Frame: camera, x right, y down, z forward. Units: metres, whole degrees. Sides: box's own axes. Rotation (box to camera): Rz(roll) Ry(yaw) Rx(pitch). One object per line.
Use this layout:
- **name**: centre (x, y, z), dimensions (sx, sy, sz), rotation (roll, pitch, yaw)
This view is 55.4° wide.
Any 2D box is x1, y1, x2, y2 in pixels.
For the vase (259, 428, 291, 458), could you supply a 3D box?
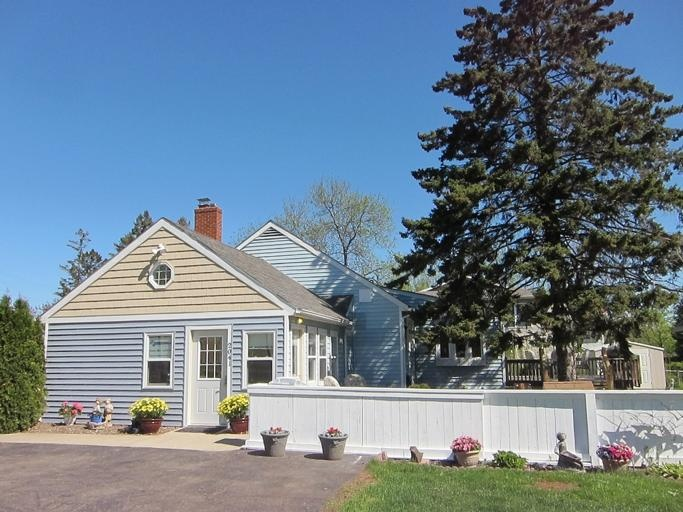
- **vase**: centre (-1.741, 4.892, 17.060), dimensions (0.608, 0.522, 0.659), rotation (1, -12, -5)

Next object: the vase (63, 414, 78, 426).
- **vase**: centre (-8.776, 5.311, 21.132), dimensions (0.333, 0.292, 0.348), rotation (-12, -19, 33)

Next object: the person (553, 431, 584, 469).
- **person**: centre (5.564, 4.754, 15.973), dimensions (0.535, 0.741, 0.868), rotation (-2, 6, -3)

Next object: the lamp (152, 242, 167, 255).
- **lamp**: centre (-6.117, -0.210, 21.817), dimensions (0.530, 0.367, 0.268), rotation (3, 8, 42)

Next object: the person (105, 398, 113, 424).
- **person**: centre (-7.475, 5.007, 20.927), dimensions (0.254, 0.778, 0.690), rotation (-3, 6, -15)

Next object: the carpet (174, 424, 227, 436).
- **carpet**: centre (-4.280, 5.340, 20.128), dimensions (1.666, 0.120, 0.923), rotation (-1, 6, 16)

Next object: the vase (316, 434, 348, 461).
- **vase**: centre (-0.203, 4.910, 16.740), dimensions (0.564, 0.462, 0.615), rotation (2, -17, -4)

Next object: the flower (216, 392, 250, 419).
- **flower**: centre (-3.166, 4.504, 19.839), dimensions (0.938, 0.701, 0.946), rotation (0, 1, 9)

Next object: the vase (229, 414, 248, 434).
- **vase**: centre (-3.068, 5.057, 19.528), dimensions (0.474, 0.411, 0.521), rotation (1, -19, 0)

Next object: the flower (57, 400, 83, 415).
- **flower**: centre (-8.758, 4.970, 21.192), dimensions (0.514, 0.296, 0.555), rotation (3, -9, 26)
